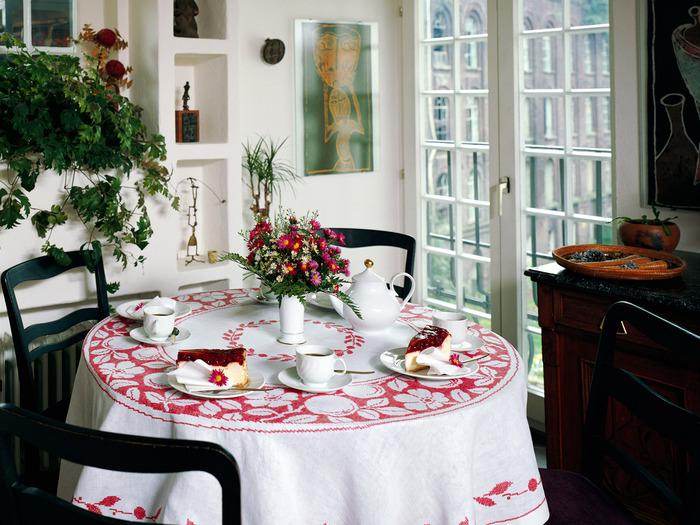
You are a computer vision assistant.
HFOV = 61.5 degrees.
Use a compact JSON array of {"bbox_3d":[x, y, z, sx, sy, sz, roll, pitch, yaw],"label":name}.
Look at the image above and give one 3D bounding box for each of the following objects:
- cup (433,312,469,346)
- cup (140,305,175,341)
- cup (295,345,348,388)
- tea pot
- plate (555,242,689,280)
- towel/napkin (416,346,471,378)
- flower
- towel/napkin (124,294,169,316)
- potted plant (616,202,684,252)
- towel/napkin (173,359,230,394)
[{"bbox_3d":[0.335,0.212,1.909,0.082,0.089,0.112,-1,4,0],"label":"cup"},{"bbox_3d":[-0.647,0.200,1.978,0.091,0.098,0.123,6,14,6],"label":"cup"},{"bbox_3d":[-0.075,0.287,1.648,0.130,0.091,0.091,4,5,0],"label":"cup"},{"bbox_3d":[0.067,0.119,2.081,0.296,0.233,0.194,2,3,-5],"label":"tea pot"},{"bbox_3d":[1.103,-0.007,2.407,0.499,0.094,0.361,8,15,31],"label":"plate"},{"bbox_3d":[0.268,0.288,1.689,0.090,0.039,0.093,19,3,-13],"label":"towel/napkin"},{"bbox_3d":[-0.200,-0.023,2.061,0.362,0.276,0.434,21,8,-12],"label":"flower"},{"bbox_3d":[-0.762,0.159,2.186,0.111,0.028,0.104,7,15,9],"label":"towel/napkin"},{"bbox_3d":[1.265,-0.147,2.455,0.213,0.117,0.218,0,6,-23],"label":"potted plant"},{"bbox_3d":[-0.412,0.310,1.598,0.099,0.039,0.101,-1,17,-21],"label":"towel/napkin"}]
